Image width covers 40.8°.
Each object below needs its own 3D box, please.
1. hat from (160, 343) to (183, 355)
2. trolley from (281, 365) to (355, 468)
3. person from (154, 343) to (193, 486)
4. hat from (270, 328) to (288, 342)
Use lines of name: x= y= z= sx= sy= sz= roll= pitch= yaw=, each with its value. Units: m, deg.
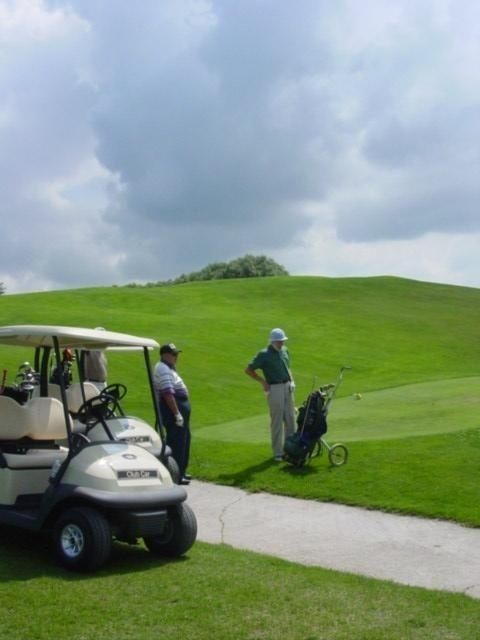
hat: x=-0.865 y=0.367 z=7.852 sx=0.284 sy=0.129 sz=0.179 roll=0 pitch=1 yaw=18
trolley: x=1.138 y=1.435 z=9.778 sx=0.916 sy=1.331 sz=1.441 roll=-2 pitch=-1 yaw=9
person: x=-0.815 y=1.158 z=7.784 sx=0.415 sy=1.424 sz=0.798 roll=-2 pitch=-1 yaw=-7
hat: x=0.602 y=0.250 z=9.638 sx=0.275 sy=0.144 sz=0.202 roll=-4 pitch=9 yaw=-37
